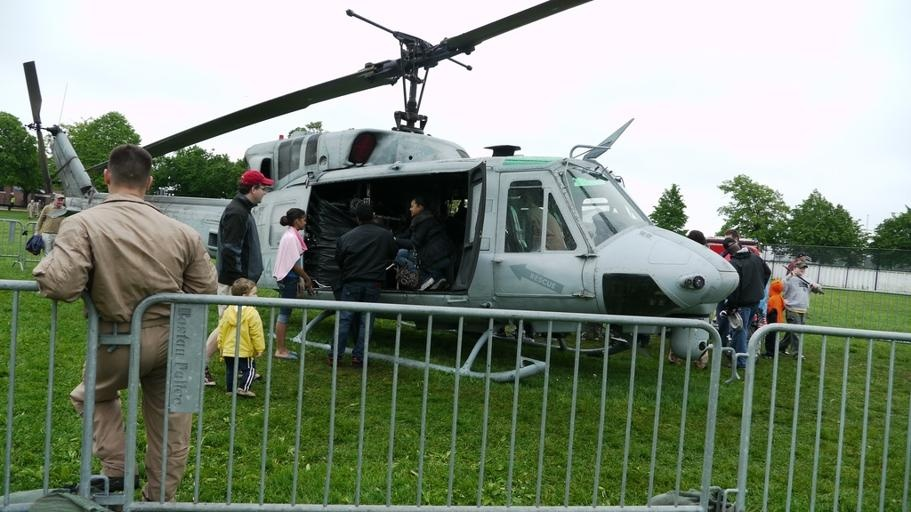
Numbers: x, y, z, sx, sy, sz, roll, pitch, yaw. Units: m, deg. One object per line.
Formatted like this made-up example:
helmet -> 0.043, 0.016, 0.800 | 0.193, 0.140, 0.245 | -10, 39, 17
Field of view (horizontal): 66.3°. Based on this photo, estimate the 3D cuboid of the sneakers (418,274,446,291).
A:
sneakers -> -0.378, 0.421, 10.925 | 0.545, 0.198, 0.168 | 1, -5, -19

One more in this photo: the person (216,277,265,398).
person -> -2.585, 0.962, 8.289 | 0.574, 1.399, 2.361 | 6, -1, -18

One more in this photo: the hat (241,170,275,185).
hat -> -2.730, -1.080, 9.630 | 0.457, 0.169, 0.281 | -3, 13, -41

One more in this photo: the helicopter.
helicopter -> -0.259, -0.831, 11.909 | 8.721, 3.037, 7.062 | 2, 4, 33

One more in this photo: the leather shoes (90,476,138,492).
leather shoes -> -3.377, 2.207, 6.748 | 0.282, 0.090, 0.191 | 6, -8, -7

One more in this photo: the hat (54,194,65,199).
hat -> -9.407, -1.426, 16.379 | 0.170, 0.072, 0.249 | -2, 2, -37
